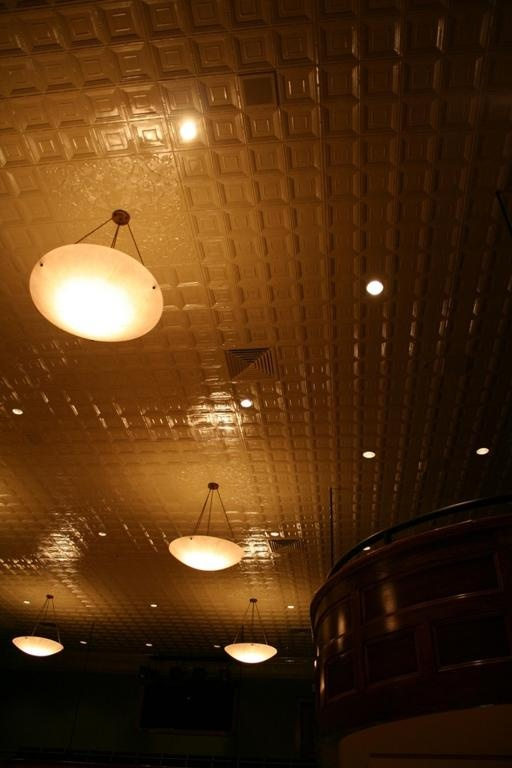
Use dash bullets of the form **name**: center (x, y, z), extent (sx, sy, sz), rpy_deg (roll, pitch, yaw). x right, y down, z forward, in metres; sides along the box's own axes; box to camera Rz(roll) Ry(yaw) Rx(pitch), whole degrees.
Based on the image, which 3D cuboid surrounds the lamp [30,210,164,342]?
- **lamp**: center (-0.722, -0.674, 3.167), extent (0.475, 0.467, 0.519), rpy_deg (-16, -52, -21)

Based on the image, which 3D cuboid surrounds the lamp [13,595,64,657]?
- **lamp**: center (-3.678, 4.250, 10.084), extent (0.797, 1.009, 0.799), rpy_deg (-29, -41, 26)

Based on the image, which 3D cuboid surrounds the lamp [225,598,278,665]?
- **lamp**: center (-0.052, 4.121, 9.653), extent (0.942, 1.039, 0.933), rpy_deg (-10, -41, 19)

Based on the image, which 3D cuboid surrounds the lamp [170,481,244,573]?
- **lamp**: center (-0.448, 1.379, 5.718), extent (0.649, 0.767, 0.626), rpy_deg (2, 8, -32)
